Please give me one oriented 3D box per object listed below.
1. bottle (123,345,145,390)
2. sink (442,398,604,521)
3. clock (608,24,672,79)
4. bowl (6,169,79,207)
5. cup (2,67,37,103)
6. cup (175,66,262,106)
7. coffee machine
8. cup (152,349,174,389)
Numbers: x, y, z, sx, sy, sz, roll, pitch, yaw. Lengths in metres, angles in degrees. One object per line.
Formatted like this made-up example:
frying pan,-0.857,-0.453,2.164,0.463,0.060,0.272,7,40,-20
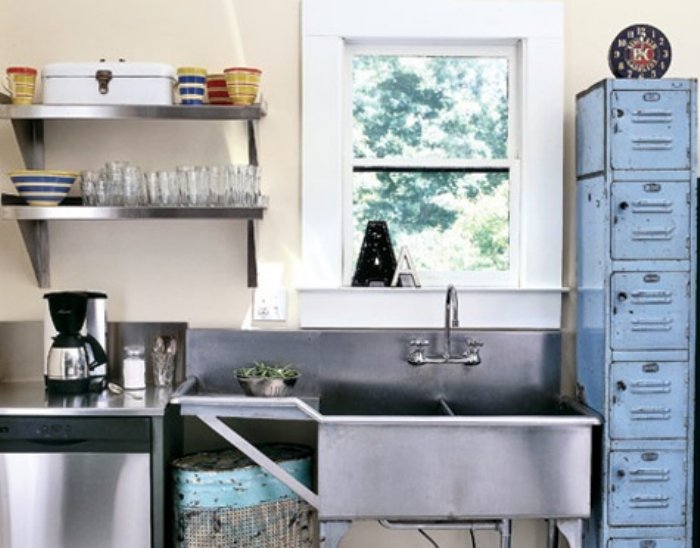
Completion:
bottle,-0.921,0.396,4.652,0.105,0.180,0.221,-4,6,-12
sink,0.655,0.733,4.255,0.434,0.290,0.456,0,-4,0
clock,1.197,-0.914,4.506,0.262,0.289,0.046,1,-4,-3
bowl,-1.304,-0.348,4.624,0.313,0.141,0.326,0,1,0
cup,-1.364,-0.779,4.530,0.145,0.151,0.123,4,3,41
cup,-0.532,-0.785,4.541,0.255,0.108,0.189,2,3,16
coffee machine,-1.147,0.286,4.556,0.261,0.418,0.187,-4,6,-15
cup,-0.790,0.411,4.621,0.121,0.197,0.138,2,-3,-11
